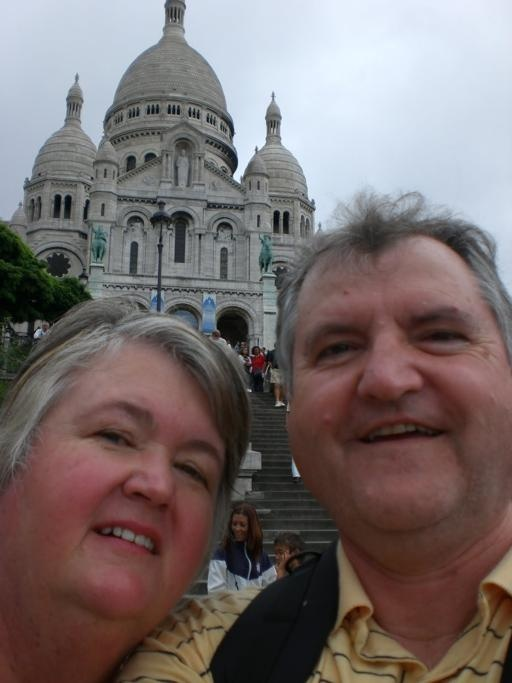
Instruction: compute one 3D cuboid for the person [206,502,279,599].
[{"bbox_3d":[-0.101,1.678,6.031,0.558,0.696,0.449,1,-5,-18],"label":"person"}]
